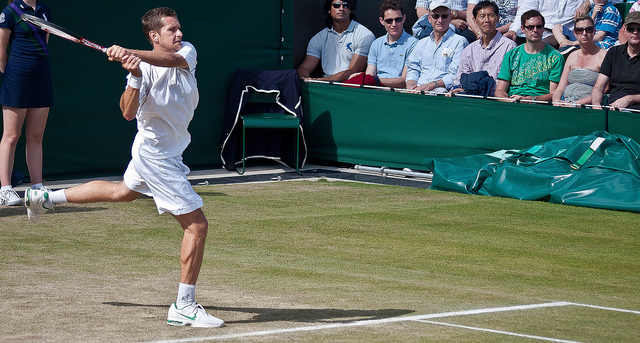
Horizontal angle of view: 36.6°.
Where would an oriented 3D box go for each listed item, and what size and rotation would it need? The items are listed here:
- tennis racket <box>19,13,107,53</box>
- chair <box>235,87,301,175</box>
[{"bbox_3d":[-3.403,-1.825,12.607,0.814,0.421,1.929,-2,11,-27],"label":"tennis racket"},{"bbox_3d":[-1.059,-0.889,18.371,1.434,1.451,1.181,4,15,-3],"label":"chair"}]
